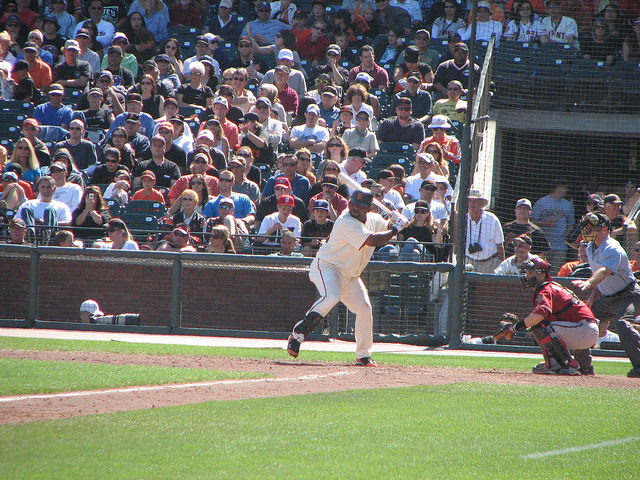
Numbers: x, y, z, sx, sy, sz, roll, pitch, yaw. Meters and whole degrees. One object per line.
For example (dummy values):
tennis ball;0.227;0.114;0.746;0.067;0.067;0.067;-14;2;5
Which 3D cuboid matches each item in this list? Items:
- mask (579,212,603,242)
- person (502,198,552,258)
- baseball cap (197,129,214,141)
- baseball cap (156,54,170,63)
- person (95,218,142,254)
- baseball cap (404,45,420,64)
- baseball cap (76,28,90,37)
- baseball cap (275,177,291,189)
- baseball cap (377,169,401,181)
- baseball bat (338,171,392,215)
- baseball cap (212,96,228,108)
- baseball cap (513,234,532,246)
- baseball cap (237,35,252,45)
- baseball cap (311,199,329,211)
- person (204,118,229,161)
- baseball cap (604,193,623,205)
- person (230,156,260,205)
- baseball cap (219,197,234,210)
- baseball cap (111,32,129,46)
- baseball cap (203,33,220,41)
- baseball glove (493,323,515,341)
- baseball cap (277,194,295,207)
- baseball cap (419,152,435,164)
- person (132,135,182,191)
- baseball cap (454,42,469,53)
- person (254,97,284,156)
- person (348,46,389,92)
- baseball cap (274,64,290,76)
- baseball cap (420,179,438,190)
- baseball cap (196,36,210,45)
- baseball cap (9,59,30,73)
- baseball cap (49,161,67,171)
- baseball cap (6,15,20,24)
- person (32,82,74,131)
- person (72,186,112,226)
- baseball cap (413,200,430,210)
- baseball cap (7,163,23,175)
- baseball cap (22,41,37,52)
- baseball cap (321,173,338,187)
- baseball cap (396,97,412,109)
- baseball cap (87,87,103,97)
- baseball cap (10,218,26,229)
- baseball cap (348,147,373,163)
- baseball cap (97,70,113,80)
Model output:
mask;4.715;-0.213;29.024;0.448;0.530;0.556;0;-4;36
person;3.925;-0.162;31.665;0.929;1.265;0.559;-5;-29;16
baseball cap;-2.287;-2.099;33.473;0.275;0.242;0.266;1;-2;16
baseball cap;-3.378;-3.928;36.103;0.283;0.179;0.332;2;-2;-3
person;-3.787;-0.018;31.444;1.127;0.634;0.641;1;-16;2
baseball cap;1.965;-3.980;35.367;0.285;0.395;0.210;9;-33;4
baseball cap;-5.222;-4.582;36.895;0.274;0.268;0.512;2;-2;-9
baseball cap;-0.713;-1.071;31.818;0.274;0.234;0.299;2;-2;-2
baseball cap;1.298;-1.238;32.037;0.313;0.146;0.196;0;2;11
baseball bat;0.810;-0.810;30.118;1.317;0.147;0.175;36;23;-12
baseball cap;-2.050;-2.841;34.417;0.309;0.271;0.391;2;-2;-2
baseball cap;3.745;0.014;30.935;0.311;0.215;0.395;1;-2;2
baseball cap;-1.656;-4.433;37.115;0.381;0.172;0.532;-1;-4;-3
baseball cap;0.024;-0.643;31.216;0.292;0.223;0.343;1;-2;-1
person;-2.056;-2.030;33.675;0.416;0.816;0.550;0;-2;40
baseball cap;5.359;-0.736;30.684;0.281;0.152;0.203;6;4;13
person;-1.422;-1.158;32.557;0.481;0.927;0.719;1;-2;25
baseball cap;-1.707;-0.693;31.547;0.221;0.151;0.352;2;5;5
baseball cap;-4.380;-4.458;36.880;0.320;0.225;0.312;3;-1;-9
baseball cap;-2.366;-4.471;36.741;0.206;0.085;0.325;17;20;40
baseball glove;3.054;1.560;27.959;0.299;0.131;0.295;3;8;23
baseball cap;-0.636;-0.739;31.403;0.261;0.222;0.228;1;-2;17
baseball cap;2.080;-1.579;32.398;0.228;0.217;0.356;1;-2;21
person;-3.217;-1.367;33.000;0.988;1.393;0.750;1;-7;-1
baseball cap;2.952;-4.026;34.975;0.284;0.269;0.575;1;-2;4
person;-1.031;-2.333;34.187;0.728;1.179;0.431;3;-2;-35
person;0.993;-3.494;35.744;0.942;1.201;0.779;0;4;-9
baseball cap;-0.791;-3.589;35.138;0.252;0.259;0.445;1;-2;3
baseball cap;2.086;-1.057;31.884;0.310;0.201;0.379;1;-2;4
baseball cap;-2.552;-4.367;36.490;0.280;0.232;0.493;1;-2;0
baseball cap;-6.400;-3.718;35.748;0.408;0.289;0.473;2;-2;-10
baseball cap;-5.093;-1.422;32.581;0.301;0.186;0.354;2;-2;-10
baseball cap;-6.968;-5.028;38.102;0.344;0.156;0.480;-1;2;-12
person;-5.551;-2.653;34.768;0.866;1.142;0.716;5;6;-19
person;-4.328;-0.628;31.887;0.748;0.761;0.546;2;-2;-7
baseball cap;1.915;-0.642;31.398;0.284;0.192;0.456;1;-2;2
baseball cap;-5.999;-1.379;32.887;0.251;0.159;0.244;6;0;-18
baseball cap;-6.230;-4.180;36.073;0.282;0.244;0.427;2;-2;-10
baseball cap;0.190;-1.116;31.686;0.300;0.255;0.298;1;-2;-1
baseball cap;1.701;-2.770;33.795;0.266;0.216;0.323;1;-2;2
baseball cap;-4.683;-3.083;34.997;0.259;0.136;0.365;5;2;-8
baseball cap;-5.686;-0.310;31.559;0.290;0.189;0.340;2;-2;-11
baseball cap;0.785;-1.681;32.660;0.361;0.198;0.239;22;6;-10
baseball cap;-4.546;-3.499;35.434;0.301;0.233;0.464;2;-2;-3
